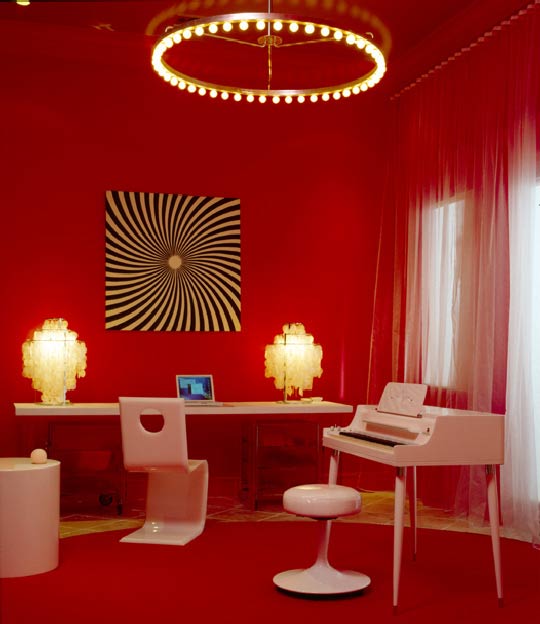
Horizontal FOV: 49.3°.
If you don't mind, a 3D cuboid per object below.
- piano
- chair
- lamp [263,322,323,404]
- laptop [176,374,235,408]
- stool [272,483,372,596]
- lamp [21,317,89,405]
[{"bbox_3d":[0.662,0.820,2.900,0.535,0.930,0.928,5,-8,-15],"label":"piano"},{"bbox_3d":[-0.610,0.903,3.427,0.494,0.801,0.663,2,-7,-8],"label":"chair"},{"bbox_3d":[0.181,0.387,4.545,0.419,0.586,0.174,0,-7,7],"label":"lamp"},{"bbox_3d":[-0.538,0.573,4.273,0.289,0.231,0.204,3,-8,-13],"label":"laptop"},{"bbox_3d":[0.249,0.951,2.646,0.437,0.404,0.427,1,-5,9],"label":"stool"},{"bbox_3d":[-1.448,0.335,3.966,0.392,0.577,0.156,4,-8,-24],"label":"lamp"}]
